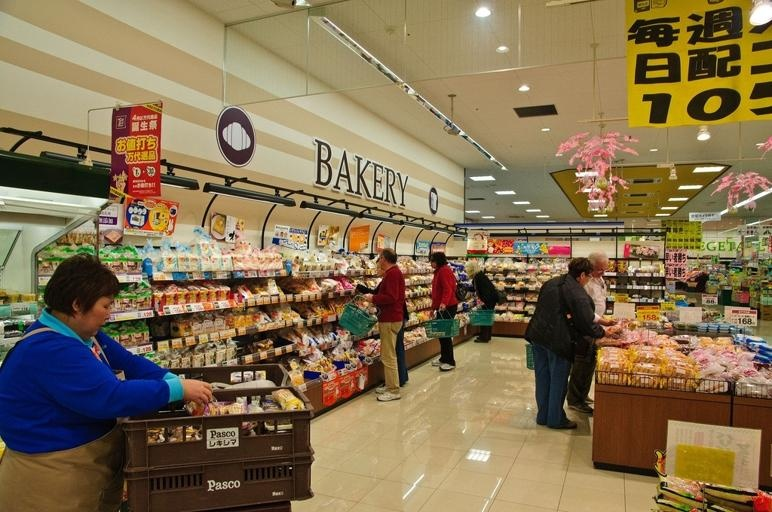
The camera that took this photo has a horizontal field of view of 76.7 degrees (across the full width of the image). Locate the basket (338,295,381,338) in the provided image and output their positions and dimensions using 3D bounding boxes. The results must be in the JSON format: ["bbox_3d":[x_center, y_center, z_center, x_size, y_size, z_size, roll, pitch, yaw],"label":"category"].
[{"bbox_3d":[-0.419,0.794,6.842,0.459,0.442,0.301,40,2,-12],"label":"basket"}]

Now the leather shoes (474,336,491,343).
[{"bbox_3d":[2.174,1.902,11.202,0.441,0.175,0.137,-5,-6,24],"label":"leather shoes"}]

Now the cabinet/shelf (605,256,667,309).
[{"bbox_3d":[5.249,0.544,10.154,1.278,1.110,0.375,1,3,30],"label":"cabinet/shelf"}]

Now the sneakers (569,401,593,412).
[{"bbox_3d":[2.718,2.082,6.727,0.340,0.117,0.130,-1,1,34],"label":"sneakers"}]

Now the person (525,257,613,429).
[{"bbox_3d":[2.162,1.084,5.962,0.858,2.087,0.496,2,6,16],"label":"person"}]

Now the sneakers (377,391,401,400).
[{"bbox_3d":[0.042,1.989,7.026,0.323,0.127,0.115,6,-8,-14],"label":"sneakers"}]

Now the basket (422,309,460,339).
[{"bbox_3d":[0.920,1.096,8.019,0.526,0.484,0.490,-1,0,-1],"label":"basket"}]

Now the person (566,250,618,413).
[{"bbox_3d":[2.795,1.053,6.705,0.801,2.417,0.753,-5,26,11],"label":"person"}]

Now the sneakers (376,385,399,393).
[{"bbox_3d":[0.021,1.942,7.183,0.349,0.140,0.122,4,-7,-4],"label":"sneakers"}]
